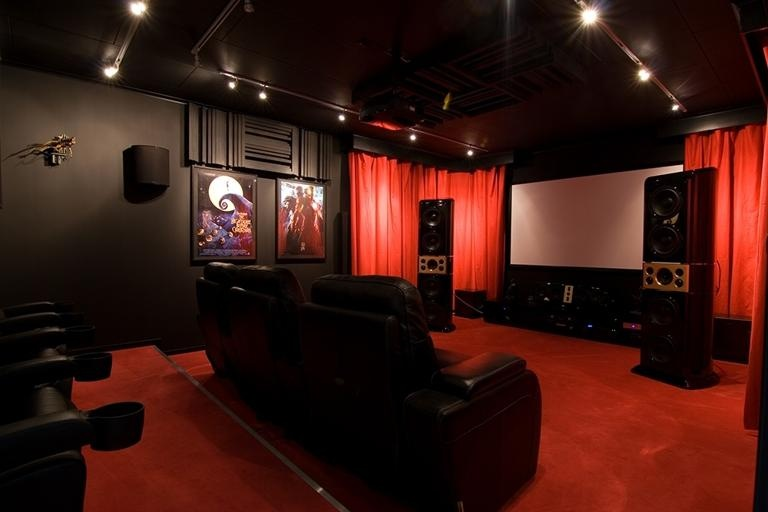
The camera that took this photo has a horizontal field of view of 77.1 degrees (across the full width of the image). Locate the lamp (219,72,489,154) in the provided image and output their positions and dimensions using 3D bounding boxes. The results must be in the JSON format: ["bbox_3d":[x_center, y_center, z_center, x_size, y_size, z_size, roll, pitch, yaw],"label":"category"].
[{"bbox_3d":[-0.470,-1.750,5.790,2.077,0.150,0.065,18,16,-24],"label":"lamp"}]

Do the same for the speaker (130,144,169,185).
[{"bbox_3d":[-2.567,-0.984,5.366,0.399,0.481,0.416,5,6,43],"label":"speaker"}]
